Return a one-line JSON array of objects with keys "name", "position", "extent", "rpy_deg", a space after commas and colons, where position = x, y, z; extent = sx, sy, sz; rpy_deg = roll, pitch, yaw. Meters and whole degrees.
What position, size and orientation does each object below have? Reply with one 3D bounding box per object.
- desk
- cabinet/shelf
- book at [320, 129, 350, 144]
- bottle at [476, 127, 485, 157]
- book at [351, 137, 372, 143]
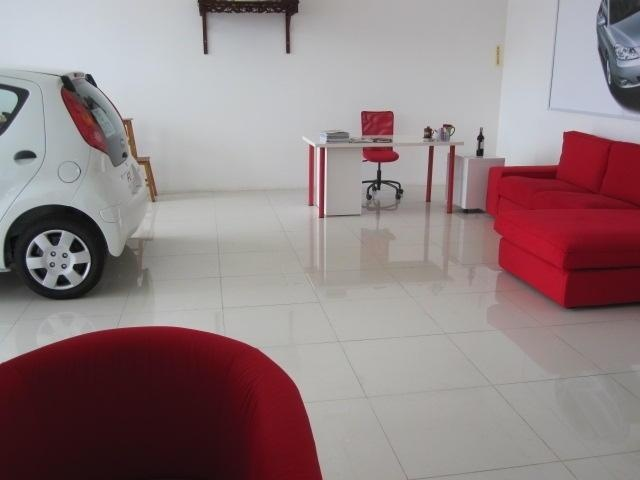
[{"name": "desk", "position": [0.939, -1.106, 6.498], "extent": [2.319, 0.994, 2.102], "rpy_deg": [0, 22, -3]}, {"name": "cabinet/shelf", "position": [1.978, -0.773, 5.974], "extent": [0.681, 0.754, 0.688], "rpy_deg": [3, 13, -2]}, {"name": "book", "position": [0.162, -1.280, 5.485], "extent": [0.409, 0.130, 0.334], "rpy_deg": [6, 23, 13]}, {"name": "bottle", "position": [2.127, -1.298, 5.785], "extent": [0.102, 0.363, 0.395], "rpy_deg": [8, 23, 19]}, {"name": "book", "position": [0.532, -1.254, 5.565], "extent": [0.266, 0.012, 0.401], "rpy_deg": [2, 22, 2]}]
